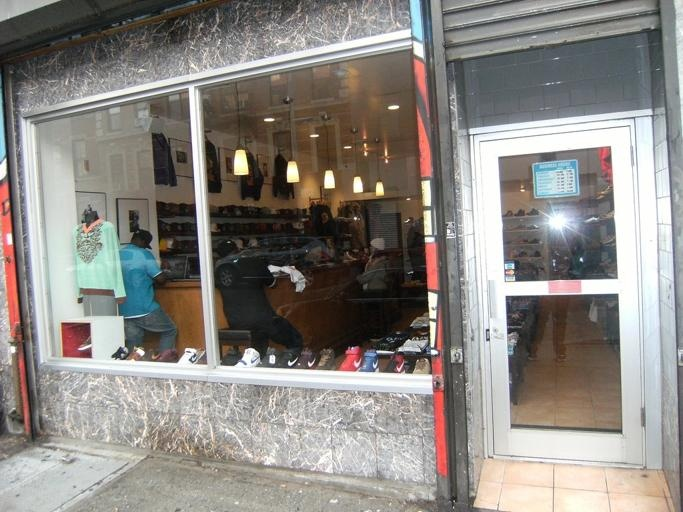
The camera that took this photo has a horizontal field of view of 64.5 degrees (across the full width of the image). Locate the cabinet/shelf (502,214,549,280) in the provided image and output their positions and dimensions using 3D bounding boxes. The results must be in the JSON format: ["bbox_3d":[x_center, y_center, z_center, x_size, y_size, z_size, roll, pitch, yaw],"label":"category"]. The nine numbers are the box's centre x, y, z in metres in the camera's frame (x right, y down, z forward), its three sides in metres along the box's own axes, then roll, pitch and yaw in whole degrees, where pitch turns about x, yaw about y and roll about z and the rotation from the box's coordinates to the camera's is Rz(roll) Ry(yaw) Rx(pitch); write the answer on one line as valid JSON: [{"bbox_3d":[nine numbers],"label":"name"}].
[{"bbox_3d":[1.389,-0.072,4.080,0.300,0.471,0.130,0,13,14],"label":"cabinet/shelf"}]

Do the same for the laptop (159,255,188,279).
[{"bbox_3d":[-1.508,0.103,4.905,0.333,0.196,0.085,3,-2,30],"label":"laptop"}]

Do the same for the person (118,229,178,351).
[{"bbox_3d":[-1.813,0.305,4.937,0.431,1.005,0.681,-9,14,-23],"label":"person"}]

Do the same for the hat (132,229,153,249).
[{"bbox_3d":[-1.888,-0.161,5.158,0.140,0.193,0.191,21,8,33],"label":"hat"}]

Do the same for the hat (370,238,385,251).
[{"bbox_3d":[0.398,-0.129,5.915,0.103,0.119,0.357,-5,13,-9],"label":"hat"}]

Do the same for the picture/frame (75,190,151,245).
[{"bbox_3d":[-2.200,-0.349,5.146,0.545,0.457,0.035,1,-5,-23],"label":"picture/frame"}]

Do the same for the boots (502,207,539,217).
[{"bbox_3d":[1.352,-0.336,4.091,0.257,0.095,0.076,3,7,12],"label":"boots"}]
